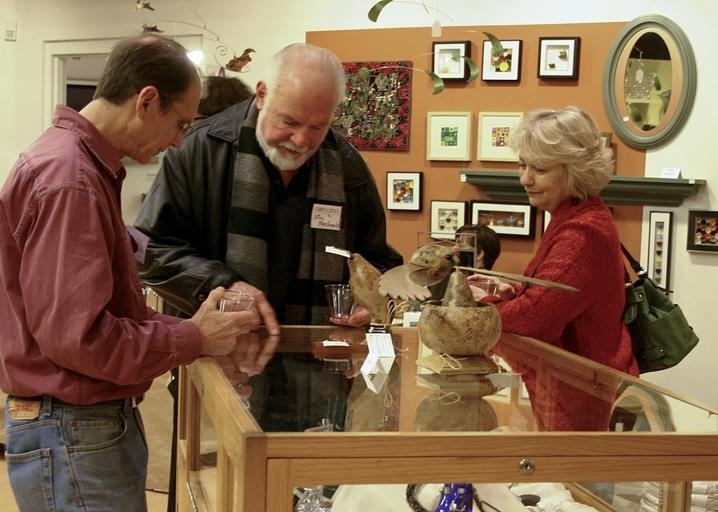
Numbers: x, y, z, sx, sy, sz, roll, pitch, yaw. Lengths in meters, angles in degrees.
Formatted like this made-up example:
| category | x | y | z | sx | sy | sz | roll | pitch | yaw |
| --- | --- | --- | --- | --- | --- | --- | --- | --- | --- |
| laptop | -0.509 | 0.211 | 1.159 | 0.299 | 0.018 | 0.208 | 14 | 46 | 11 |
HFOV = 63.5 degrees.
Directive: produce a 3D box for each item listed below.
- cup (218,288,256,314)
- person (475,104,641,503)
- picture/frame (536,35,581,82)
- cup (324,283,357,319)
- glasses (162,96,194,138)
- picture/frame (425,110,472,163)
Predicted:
| category | x | y | z | sx | sy | sz | roll | pitch | yaw |
| --- | --- | --- | --- | --- | --- | --- | --- | --- | --- |
| cup | -0.381 | 0.148 | 1.834 | 0.074 | 0.069 | 0.128 | -3 | -6 | 39 |
| person | 0.876 | 0.333 | 2.753 | 0.800 | 1.925 | 0.779 | 7 | 18 | 32 |
| picture/frame | 1.643 | -1.630 | 4.750 | 0.405 | 0.416 | 0.063 | 4 | 2 | 12 |
| cup | -0.068 | 0.157 | 2.046 | 0.119 | 0.113 | 0.117 | 0 | -2 | 0 |
| glasses | -0.536 | -0.416 | 1.707 | 0.099 | 0.094 | 0.072 | 42 | 15 | -1 |
| picture/frame | 0.785 | -1.050 | 5.049 | 0.497 | 0.454 | 0.061 | 2 | 8 | 17 |
